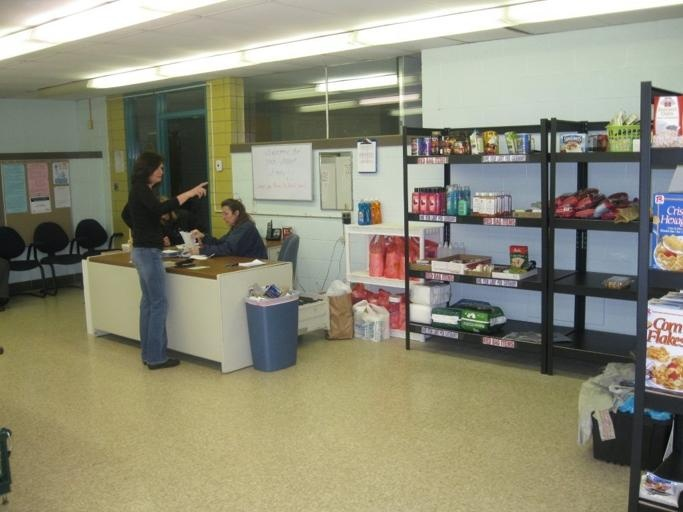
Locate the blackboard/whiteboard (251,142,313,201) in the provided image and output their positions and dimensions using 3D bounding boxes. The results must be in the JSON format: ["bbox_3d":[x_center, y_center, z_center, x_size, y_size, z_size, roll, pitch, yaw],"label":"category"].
[{"bbox_3d":[-0.790,-1.135,7.738,0.060,0.758,1.112,10,13,40],"label":"blackboard/whiteboard"}]

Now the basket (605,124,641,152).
[{"bbox_3d":[2.364,-1.001,4.810,0.248,0.138,0.240,1,7,23],"label":"basket"}]

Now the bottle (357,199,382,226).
[{"bbox_3d":[0.336,-0.524,6.848,0.349,0.338,0.200,0,4,22],"label":"bottle"}]

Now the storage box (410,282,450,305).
[{"bbox_3d":[0.929,0.388,6.107,0.254,0.161,0.347,2,7,23],"label":"storage box"}]

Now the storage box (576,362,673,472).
[{"bbox_3d":[1.813,1.143,3.691,0.487,0.378,0.601,5,12,29],"label":"storage box"}]

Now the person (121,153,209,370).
[{"bbox_3d":[-1.803,0.039,5.704,0.616,2.131,0.561,-7,14,-20],"label":"person"}]

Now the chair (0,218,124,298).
[{"bbox_3d":[-4.313,0.030,8.564,0.468,0.713,1.278,6,11,38],"label":"chair"}]

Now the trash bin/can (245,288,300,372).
[{"bbox_3d":[-0.702,0.729,5.617,0.555,0.691,0.446,-5,4,-36],"label":"trash bin/can"}]

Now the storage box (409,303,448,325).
[{"bbox_3d":[0.838,0.603,6.041,0.301,0.135,0.217,7,11,44],"label":"storage box"}]

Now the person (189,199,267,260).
[{"bbox_3d":[-1.370,-0.337,6.807,0.898,1.071,0.598,-3,7,-15],"label":"person"}]

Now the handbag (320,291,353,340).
[{"bbox_3d":[-0.083,0.699,6.509,0.429,0.518,0.329,-5,2,-26],"label":"handbag"}]

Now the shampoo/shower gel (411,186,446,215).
[{"bbox_3d":[0.911,-0.603,5.991,0.317,0.289,0.325,5,13,35],"label":"shampoo/shower gel"}]

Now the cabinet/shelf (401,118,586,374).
[{"bbox_3d":[1.821,-0.073,5.773,0.802,2.341,2.602,-4,6,-39],"label":"cabinet/shelf"}]

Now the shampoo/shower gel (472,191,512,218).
[{"bbox_3d":[1.473,-0.514,5.609,0.290,0.206,0.294,-6,8,-44],"label":"shampoo/shower gel"}]
